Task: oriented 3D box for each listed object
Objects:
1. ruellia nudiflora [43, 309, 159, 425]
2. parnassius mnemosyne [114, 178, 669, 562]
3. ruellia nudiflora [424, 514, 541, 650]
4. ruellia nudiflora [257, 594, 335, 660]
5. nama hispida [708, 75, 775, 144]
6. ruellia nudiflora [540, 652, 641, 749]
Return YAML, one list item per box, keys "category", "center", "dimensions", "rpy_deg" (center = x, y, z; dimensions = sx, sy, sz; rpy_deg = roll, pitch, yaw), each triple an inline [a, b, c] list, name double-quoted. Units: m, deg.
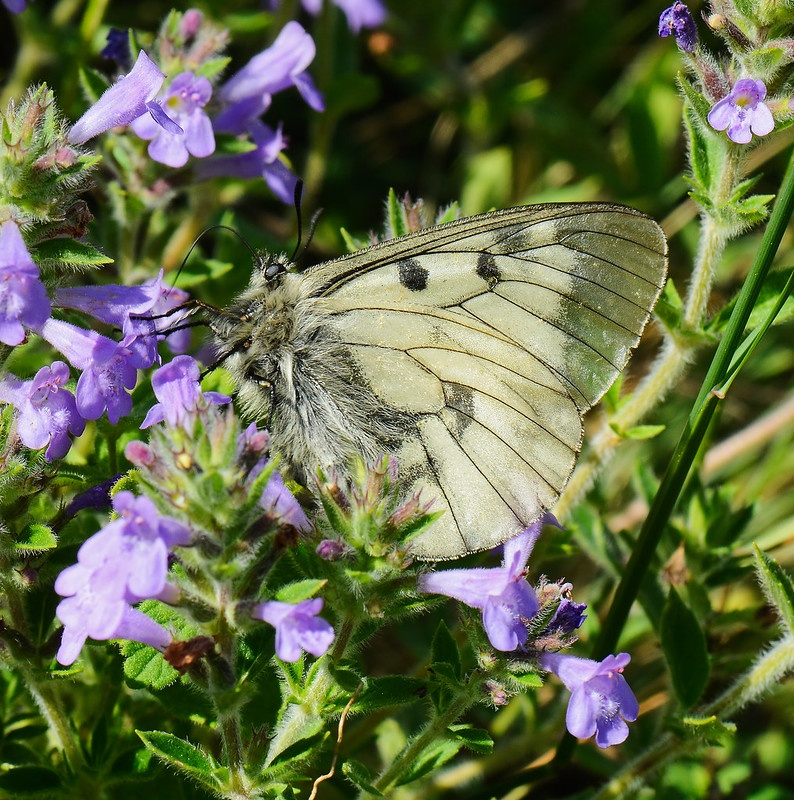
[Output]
- category: "ruellia nudiflora"
  center: [-0.863, -0.104, 3.104]
  dimensions: [0.239, 0.338, 0.291]
  rpy_deg: [-4, 12, -22]
- category: "parnassius mnemosyne"
  center: [0.020, -0.162, 3.481]
  dimensions: [1.237, 1.419, 0.900]
  rpy_deg: [28, 81, -17]
- category: "ruellia nudiflora"
  center: [0.231, 0.565, 2.861]
  dimensions: [0.306, 0.194, 0.275]
  rpy_deg: [-13, 56, -2]
- category: "ruellia nudiflora"
  center: [-0.246, 0.532, 2.580]
  dimensions: [0.140, 0.138, 0.202]
  rpy_deg: [-21, 56, -8]
- category: "nama hispida"
  center: [1.054, -0.883, 3.243]
  dimensions: [0.192, 0.090, 0.203]
  rpy_deg: [5, 70, 15]
- category: "ruellia nudiflora"
  center: [0.537, 0.788, 2.921]
  dimensions: [0.298, 0.310, 0.184]
  rpy_deg: [-6, 17, -39]
